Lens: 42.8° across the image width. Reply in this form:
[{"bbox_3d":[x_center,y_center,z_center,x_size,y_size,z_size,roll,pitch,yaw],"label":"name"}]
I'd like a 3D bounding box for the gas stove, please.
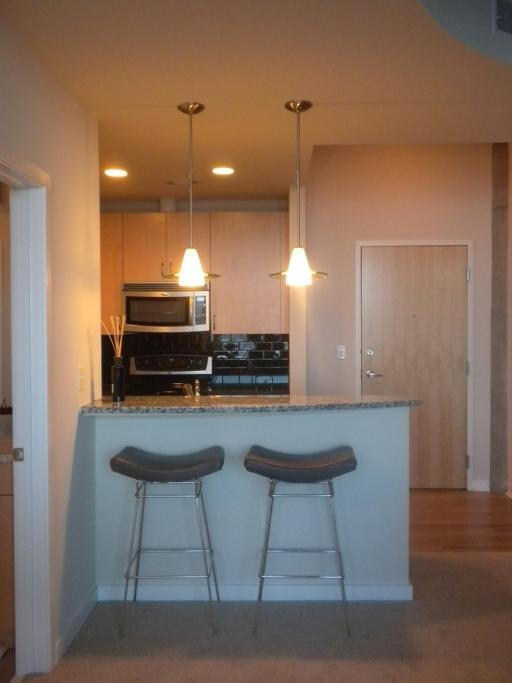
[{"bbox_3d":[-0.650,0.256,4.923,0.633,0.288,0.220,-1,5,-9],"label":"gas stove"}]

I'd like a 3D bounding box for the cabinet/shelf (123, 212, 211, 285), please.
[{"bbox_3d":[-0.654,-0.657,4.906,0.700,0.630,0.282,2,17,1],"label":"cabinet/shelf"}]
